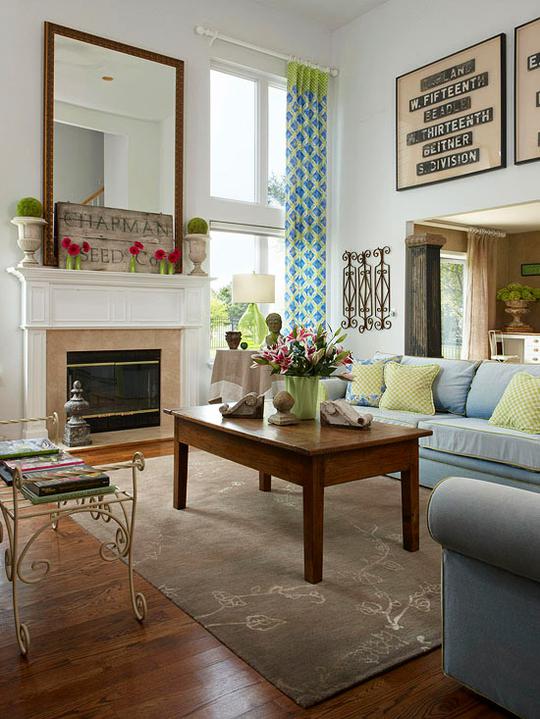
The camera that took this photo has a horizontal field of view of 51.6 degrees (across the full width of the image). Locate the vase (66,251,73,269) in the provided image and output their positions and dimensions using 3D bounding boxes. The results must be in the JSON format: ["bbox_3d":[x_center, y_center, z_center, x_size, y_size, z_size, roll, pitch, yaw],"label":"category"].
[{"bbox_3d":[-1.681,-0.821,4.690,0.062,0.131,0.059,-1,2,-22],"label":"vase"}]

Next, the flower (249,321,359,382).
[{"bbox_3d":[0.145,-0.030,2.682,0.493,0.221,0.435,-7,-12,34],"label":"flower"}]

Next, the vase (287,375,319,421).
[{"bbox_3d":[0.159,0.174,2.784,0.189,0.218,0.195,4,12,29],"label":"vase"}]

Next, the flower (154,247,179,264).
[{"bbox_3d":[-0.954,-0.961,5.245,0.148,0.103,0.147,-4,-13,-16],"label":"flower"}]

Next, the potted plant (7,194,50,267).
[{"bbox_3d":[-1.950,-1.026,4.513,0.261,0.576,0.341,-1,2,-23],"label":"potted plant"}]

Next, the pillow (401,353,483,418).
[{"bbox_3d":[1.169,0.201,3.821,0.397,0.284,0.143,1,-33,50],"label":"pillow"}]

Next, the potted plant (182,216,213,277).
[{"bbox_3d":[-0.733,-1.074,5.416,0.225,0.550,0.271,-1,3,-35],"label":"potted plant"}]

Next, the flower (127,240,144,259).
[{"bbox_3d":[-1.202,-0.989,5.042,0.141,0.149,0.073,6,13,-17],"label":"flower"}]

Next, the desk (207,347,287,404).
[{"bbox_3d":[-0.198,0.134,5.102,0.609,0.441,0.510,0,3,-25],"label":"desk"}]
